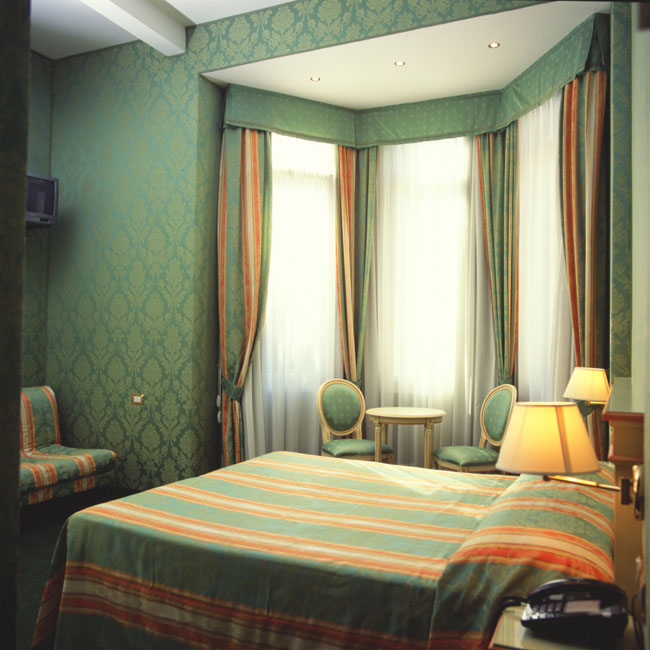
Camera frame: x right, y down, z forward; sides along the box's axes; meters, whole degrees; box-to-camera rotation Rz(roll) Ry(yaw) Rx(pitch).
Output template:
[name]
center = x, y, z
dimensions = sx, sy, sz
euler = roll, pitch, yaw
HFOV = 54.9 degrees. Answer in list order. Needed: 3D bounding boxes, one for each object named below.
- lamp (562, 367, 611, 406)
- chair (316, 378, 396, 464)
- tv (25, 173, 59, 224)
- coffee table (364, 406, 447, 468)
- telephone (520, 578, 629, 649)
[lamp]
center = 1.411, 0.324, 3.403
dimensions = 0.241, 0.318, 0.279
euler = 2, 1, 24
[chair]
center = 0.183, 0.899, 4.763
dimensions = 0.435, 1.073, 0.524
euler = 5, -12, -29
[tv]
center = -2.184, -0.961, 4.805
dimensions = 0.159, 0.344, 0.264
euler = -2, -1, 36
[coffee table]
center = 0.595, 0.704, 4.665
dimensions = 0.402, 0.576, 0.479
euler = 0, 1, 16
[telephone]
center = 0.553, 0.627, 1.385
dimensions = 0.164, 0.118, 0.143
euler = 1, 0, 16
